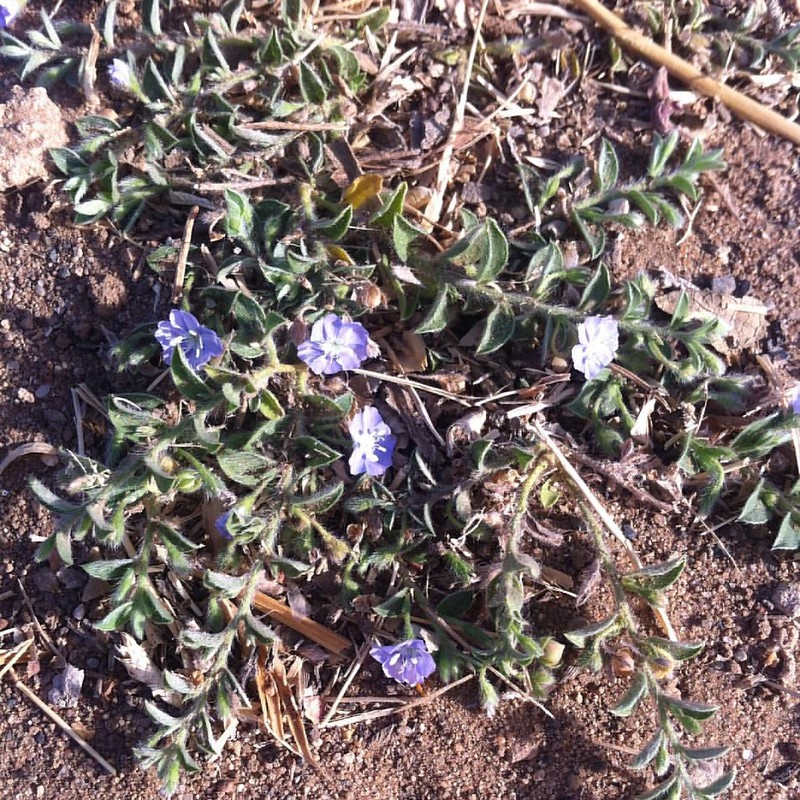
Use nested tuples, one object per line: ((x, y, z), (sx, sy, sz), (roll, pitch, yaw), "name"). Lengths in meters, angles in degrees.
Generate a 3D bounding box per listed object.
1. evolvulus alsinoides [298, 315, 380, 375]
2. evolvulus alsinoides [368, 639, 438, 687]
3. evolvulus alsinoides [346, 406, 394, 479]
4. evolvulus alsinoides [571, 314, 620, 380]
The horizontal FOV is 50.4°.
((-0.205, -0.168, 2.641), (0.164, 0.096, 0.184), (35, 62, 9), "evolvulus alsinoides")
((0.005, 0.787, 2.570), (0.189, 0.133, 0.106), (-1, 61, -11), "evolvulus alsinoides")
((-0.093, 0.134, 2.685), (0.182, 0.080, 0.202), (-6, 85, -35), "evolvulus alsinoides")
((0.611, -0.172, 2.644), (0.052, 0.185, 0.178), (15, 57, 41), "evolvulus alsinoides")
